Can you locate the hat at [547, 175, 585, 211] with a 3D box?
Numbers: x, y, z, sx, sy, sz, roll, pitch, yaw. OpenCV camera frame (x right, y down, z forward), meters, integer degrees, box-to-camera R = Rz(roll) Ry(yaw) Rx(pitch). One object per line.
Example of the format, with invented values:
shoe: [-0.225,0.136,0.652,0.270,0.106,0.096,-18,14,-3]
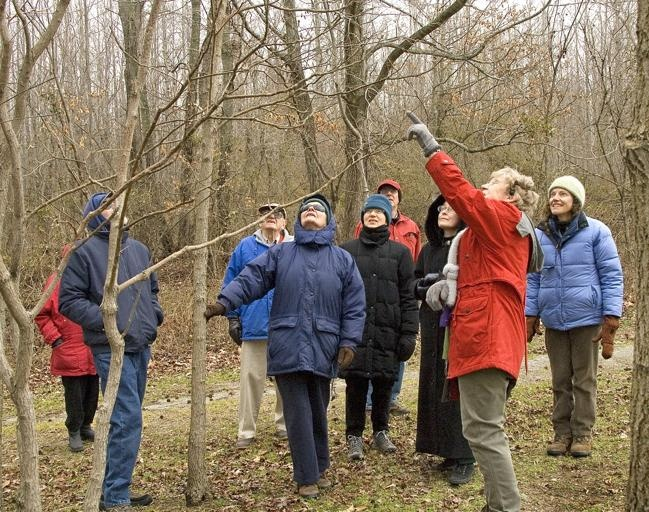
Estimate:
hat: [2.642,-0.736,8.009,0.359,0.323,0.397,9,-35,46]

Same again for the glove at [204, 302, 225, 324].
glove: [-0.974,0.486,6.743,0.169,0.132,0.303,-3,6,1]

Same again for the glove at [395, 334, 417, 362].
glove: [0.864,0.952,7.903,0.180,0.237,0.254,9,-36,11]

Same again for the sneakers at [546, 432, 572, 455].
sneakers: [2.396,1.932,7.677,0.122,0.158,0.355,-8,-13,31]

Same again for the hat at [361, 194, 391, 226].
hat: [0.569,-0.490,8.206,0.244,0.268,0.340,3,-22,17]

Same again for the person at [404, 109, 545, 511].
person: [1.353,0.510,6.582,0.849,3.498,0.989,1,7,30]

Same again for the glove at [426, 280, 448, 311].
glove: [1.006,0.354,6.658,0.103,0.248,0.182,32,-32,-35]

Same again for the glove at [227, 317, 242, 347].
glove: [-0.952,0.817,8.092,0.098,0.264,0.186,-8,-3,0]

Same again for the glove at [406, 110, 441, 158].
glove: [0.874,-1.047,6.550,0.264,0.414,0.790,-2,6,9]

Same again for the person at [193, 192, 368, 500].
person: [-0.204,0.850,7.267,1.289,2.733,0.782,-4,6,-14]
